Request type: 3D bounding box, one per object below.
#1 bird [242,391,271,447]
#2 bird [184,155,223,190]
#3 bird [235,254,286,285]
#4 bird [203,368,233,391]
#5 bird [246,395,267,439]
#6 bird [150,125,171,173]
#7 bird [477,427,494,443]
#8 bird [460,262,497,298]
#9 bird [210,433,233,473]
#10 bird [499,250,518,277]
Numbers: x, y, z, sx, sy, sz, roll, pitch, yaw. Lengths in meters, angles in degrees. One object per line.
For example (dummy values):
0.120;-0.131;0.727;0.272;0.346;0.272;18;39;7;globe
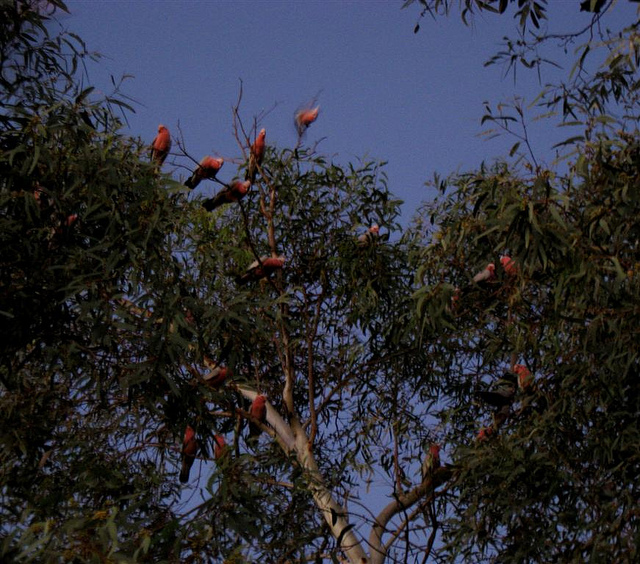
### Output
-0.447;0.957;9.321;0.081;0.261;0.235;5;-25;-5;bird
-0.739;-0.726;8.803;0.237;0.131;0.118;-14;-49;2;bird
-0.421;-0.091;9.443;0.338;0.126;0.186;-28;-100;28;bird
-0.664;0.635;8.927;0.143;0.163;0.201;-4;-13;-3;bird
-0.426;0.867;9.181;0.071;0.240;0.186;2;-8;-28;bird
-1.038;-0.860;8.870;0.089;0.293;0.274;3;-19;-22;bird
1.081;0.995;8.894;0.067;0.113;0.036;3;-26;38;bird
1.027;-0.041;8.808;0.230;0.199;0.093;9;-12;-18;bird
-0.673;1.126;9.094;0.089;0.224;0.297;3;-4;3;bird
1.201;-0.112;8.675;0.055;0.237;0.094;-8;-58;-2;bird
